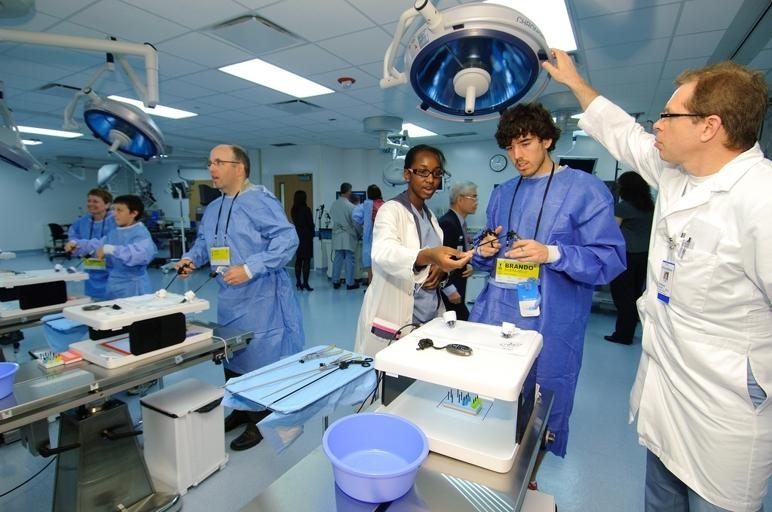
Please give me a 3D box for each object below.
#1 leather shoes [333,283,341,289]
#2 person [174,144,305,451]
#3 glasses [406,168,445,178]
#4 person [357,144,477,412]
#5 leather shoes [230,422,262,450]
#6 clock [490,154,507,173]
[{"bbox_3d":[-0.783,0.473,7.792,0.081,0.080,0.145,-3,-9,1],"label":"leather shoes"},{"bbox_3d":[-0.989,0.264,3.530,0.787,2.206,0.738,-6,6,-23],"label":"person"},{"bbox_3d":[0.263,-0.488,2.882,0.235,0.066,0.108,-6,5,-23],"label":"glasses"},{"bbox_3d":[0.132,-0.023,2.845,0.698,1.234,0.620,-4,6,-6],"label":"person"},{"bbox_3d":[-1.009,1.297,3.526,0.206,0.154,0.153,-4,5,1],"label":"leather shoes"},{"bbox_3d":[1.947,-1.610,8.563,0.282,0.292,0.290,1,4,19],"label":"clock"}]
